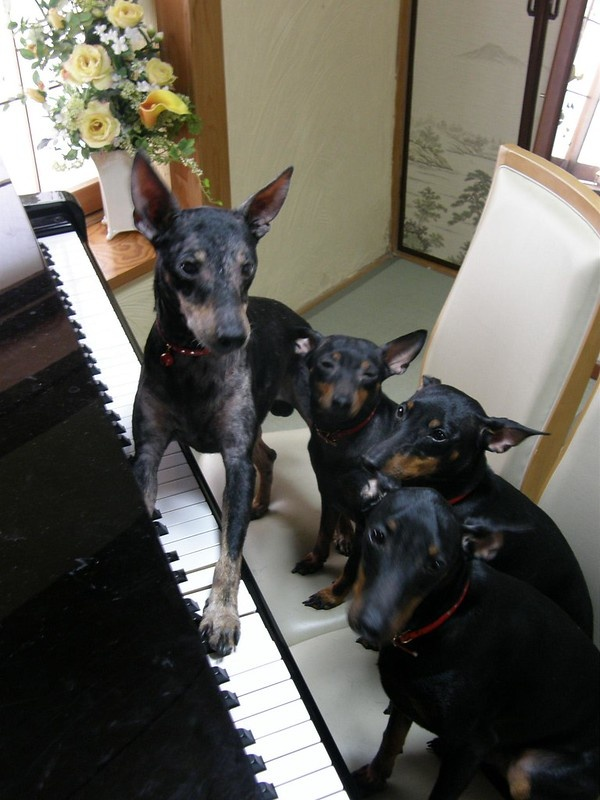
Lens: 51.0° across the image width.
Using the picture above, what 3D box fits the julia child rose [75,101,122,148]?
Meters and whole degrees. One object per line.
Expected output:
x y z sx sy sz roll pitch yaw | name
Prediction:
-0.592 -0.810 1.848 0.114 0.102 0.118 -19 45 -21 | julia child rose

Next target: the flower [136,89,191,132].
-0.406 -0.841 1.881 0.127 0.065 0.125 -8 4 -5 | flower

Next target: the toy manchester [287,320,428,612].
0.047 0.161 1.296 0.272 0.604 0.268 -5 35 -19 | toy manchester

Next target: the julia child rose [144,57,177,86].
-0.418 -0.985 1.901 0.099 0.075 0.080 -20 45 -21 | julia child rose

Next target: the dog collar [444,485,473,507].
0.273 0.169 1.080 0.050 0.011 0.046 -21 4 -10 | dog collar

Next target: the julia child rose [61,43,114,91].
-0.598 -0.958 1.817 0.138 0.123 0.065 27 4 -17 | julia child rose
